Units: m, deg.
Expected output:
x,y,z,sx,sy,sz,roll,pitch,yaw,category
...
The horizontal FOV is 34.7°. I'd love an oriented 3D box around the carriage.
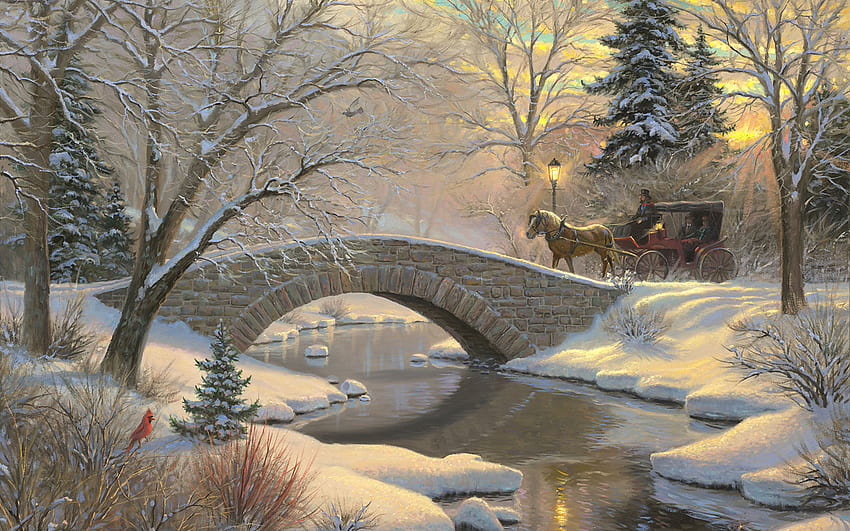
x,y,z,sx,sy,sz,roll,pitch,yaw,category
7.267,-1.154,50.053,7.609,3.029,3.349,1,-2,-4,carriage
